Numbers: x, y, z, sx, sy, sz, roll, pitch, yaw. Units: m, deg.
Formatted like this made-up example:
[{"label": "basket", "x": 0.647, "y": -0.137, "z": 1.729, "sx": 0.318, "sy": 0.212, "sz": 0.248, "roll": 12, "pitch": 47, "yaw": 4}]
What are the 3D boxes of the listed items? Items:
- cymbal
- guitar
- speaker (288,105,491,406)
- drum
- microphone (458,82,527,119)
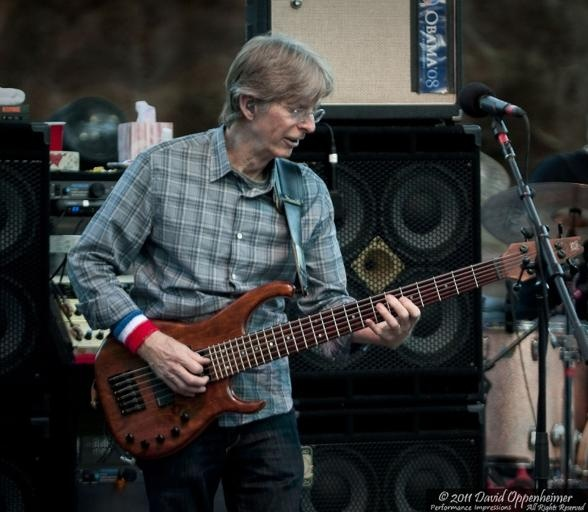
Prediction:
[{"label": "cymbal", "x": 0.999, "y": -0.192, "z": 3.708, "sx": 0.463, "sy": 0.266, "sz": 0.397, "roll": 15, "pitch": 23, "yaw": 39}, {"label": "guitar", "x": 0.031, "y": 0.272, "z": 2.569, "sx": 1.207, "sy": 0.437, "sz": 0.224, "roll": -11, "pitch": 11, "yaw": -16}, {"label": "speaker", "x": 0.309, "y": -0.049, "z": 3.127, "sx": 0.664, "sy": 0.945, "sz": 0.507, "roll": -2, "pitch": 20, "yaw": -13}, {"label": "drum", "x": 0.921, "y": 0.547, "z": 3.611, "sx": 0.559, "sy": 0.564, "sz": 0.564, "roll": -5, "pitch": -9, "yaw": 37}, {"label": "microphone", "x": 0.614, "y": -0.493, "z": 2.765, "sx": 0.122, "sy": 0.115, "sz": 0.304, "roll": -11, "pitch": 11, "yaw": -14}]
